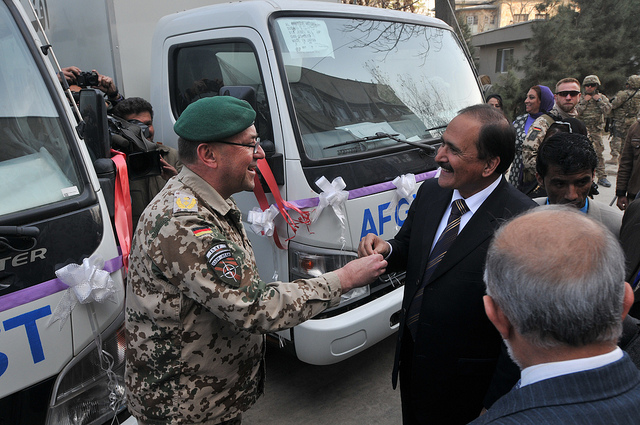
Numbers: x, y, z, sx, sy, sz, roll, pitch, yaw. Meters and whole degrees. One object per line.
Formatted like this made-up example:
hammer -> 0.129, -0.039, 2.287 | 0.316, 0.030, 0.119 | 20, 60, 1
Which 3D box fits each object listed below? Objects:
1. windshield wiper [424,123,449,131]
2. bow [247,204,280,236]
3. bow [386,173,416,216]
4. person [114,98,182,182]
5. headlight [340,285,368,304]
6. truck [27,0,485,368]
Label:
windshield wiper -> 1.120, -0.793, 4.181 | 0.294, 0.033, 0.061 | -19, 19, -31
bow -> -0.433, 0.047, 3.445 | 0.228, 0.239, 0.097 | 4, 3, 5
bow -> 0.665, -0.158, 3.664 | 0.273, 0.313, 0.183 | -9, 19, -24
person -> -1.395, -0.603, 3.572 | 0.420, 0.751, 0.332 | -7, 13, 36
headlight -> 0.279, 0.653, 3.585 | 0.217, 0.054, 0.227 | -16, 7, 16
truck -> -1.004, -0.960, 5.326 | 2.535, 2.682, 4.986 | -19, 23, -38
